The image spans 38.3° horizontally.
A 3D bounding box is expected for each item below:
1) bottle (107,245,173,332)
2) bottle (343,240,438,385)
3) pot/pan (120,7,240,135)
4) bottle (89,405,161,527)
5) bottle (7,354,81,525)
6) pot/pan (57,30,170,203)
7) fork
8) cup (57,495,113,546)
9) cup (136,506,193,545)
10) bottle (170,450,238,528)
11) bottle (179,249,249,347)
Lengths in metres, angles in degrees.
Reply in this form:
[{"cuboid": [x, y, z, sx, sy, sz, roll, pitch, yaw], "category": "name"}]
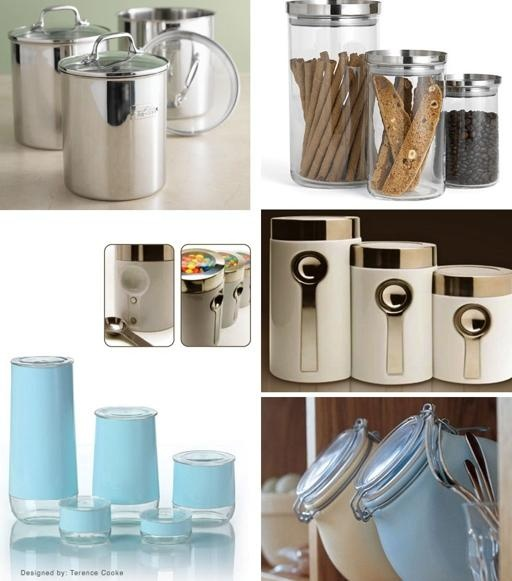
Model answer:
[{"cuboid": [-0.174, -0.015, 1.141, 0.099, 0.130, 0.107, 1, 11, 0], "category": "bottle"}, {"cuboid": [0.169, 0.022, 0.914, 0.099, 0.165, 0.101, -2, 10, 0], "category": "bottle"}, {"cuboid": [-0.074, -0.269, 0.921, 0.137, 0.174, 0.170, -1, 32, -1], "category": "pot/pan"}, {"cuboid": [-0.182, 0.233, 1.008, 0.089, 0.147, 0.087, -1, 2, 0], "category": "bottle"}, {"cuboid": [-0.282, 0.201, 0.967, 0.084, 0.217, 0.050, -4, 8, -21], "category": "bottle"}, {"cuboid": [-0.145, -0.186, 0.805, 0.136, 0.173, 0.129, -5, 9, -25], "category": "pot/pan"}, {"cuboid": [0.262, 0.240, 0.915, 0.034, 0.197, 0.067, -43, 25, -25], "category": "fork"}, {"cuboid": [-0.227, 0.303, 0.972, 0.074, 0.061, 0.076, 2, -8, 0], "category": "cup"}, {"cuboid": [-0.120, 0.313, 0.977, 0.068, 0.043, 0.051, -2, 9, -7], "category": "cup"}, {"cuboid": [-0.070, 0.263, 0.987, 0.080, 0.093, 0.089, 0, 2, 2], "category": "bottle"}, {"cuboid": [-0.058, 0.010, 1.134, 0.117, 0.146, 0.127, -1, 16, -2], "category": "bottle"}]
